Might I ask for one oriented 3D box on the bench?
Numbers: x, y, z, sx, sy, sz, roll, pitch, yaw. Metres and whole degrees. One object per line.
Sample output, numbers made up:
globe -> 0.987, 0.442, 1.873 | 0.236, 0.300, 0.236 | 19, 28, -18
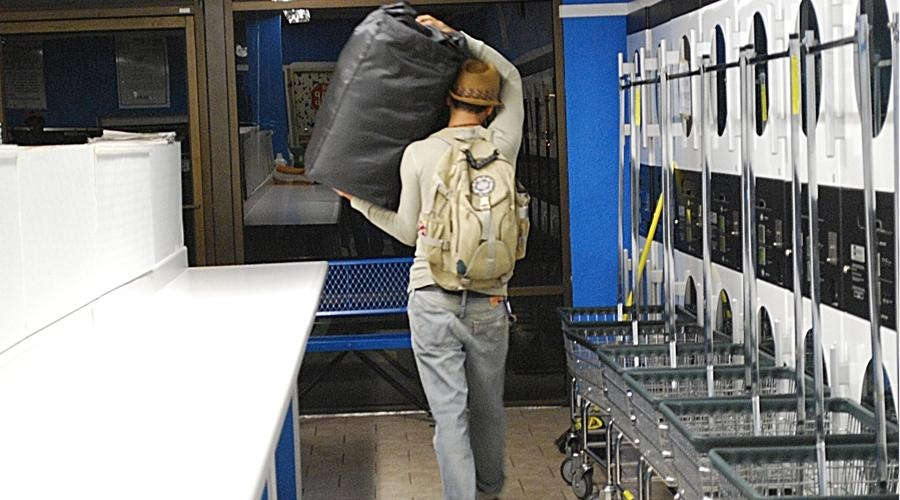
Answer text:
bench -> -0.644, 0.413, 6.270 | 1.581, 1.469, 0.994 | -1, 2, -2

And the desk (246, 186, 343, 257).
desk -> -1.174, -0.200, 6.076 | 0.941, 0.600, 0.498 | -1, 2, -4
